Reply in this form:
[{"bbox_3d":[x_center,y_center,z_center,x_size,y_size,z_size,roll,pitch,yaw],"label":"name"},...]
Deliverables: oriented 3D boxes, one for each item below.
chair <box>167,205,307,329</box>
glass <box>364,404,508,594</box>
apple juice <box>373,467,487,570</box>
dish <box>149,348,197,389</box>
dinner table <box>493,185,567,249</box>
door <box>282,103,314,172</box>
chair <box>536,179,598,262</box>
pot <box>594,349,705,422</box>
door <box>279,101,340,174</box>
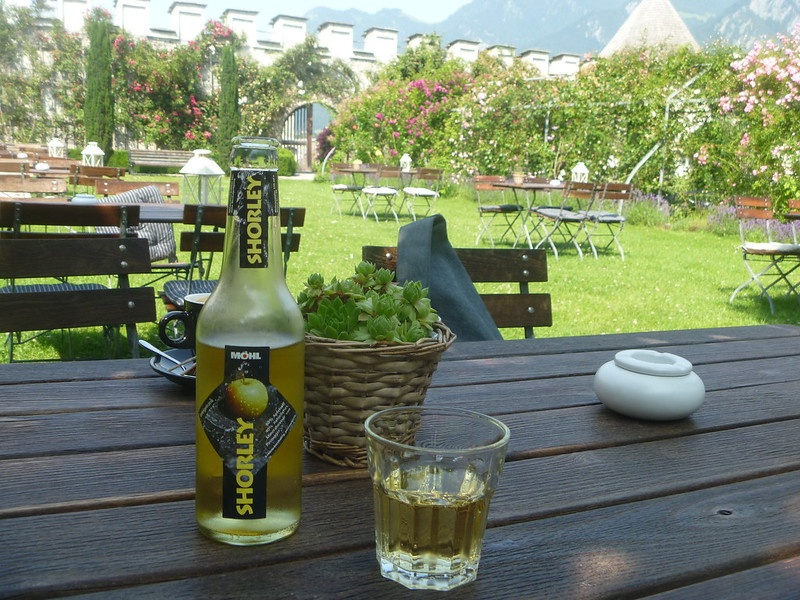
[{"bbox_3d":[-0.933,-0.223,3.550,0.763,0.784,0.630,0,-6,-13],"label":"chair"},{"bbox_3d":[0.032,0.215,0.721,0.186,0.171,0.174,2,9,-2],"label":"glass"},{"bbox_3d":[0.046,0.228,0.660,0.114,0.084,0.110,3,-9,19],"label":"apple juice"},{"bbox_3d":[-0.419,0.123,1.122,0.123,0.019,0.085,26,24,37],"label":"dish"},{"bbox_3d":[1.813,-1.402,9.544,1.155,0.838,1.133,17,13,-12],"label":"dinner table"},{"bbox_3d":[-5.227,-7.681,29.629,0.257,3.150,1.907,19,23,39],"label":"door"},{"bbox_3d":[2.243,-1.112,8.466,0.681,0.924,0.741,-6,13,-22],"label":"chair"},{"bbox_3d":[0.444,0.138,1.076,0.144,0.070,0.138,1,17,0],"label":"pot"},{"bbox_3d":[-4.375,-8.160,29.501,2.257,2.314,0.193,21,42,31],"label":"door"}]
